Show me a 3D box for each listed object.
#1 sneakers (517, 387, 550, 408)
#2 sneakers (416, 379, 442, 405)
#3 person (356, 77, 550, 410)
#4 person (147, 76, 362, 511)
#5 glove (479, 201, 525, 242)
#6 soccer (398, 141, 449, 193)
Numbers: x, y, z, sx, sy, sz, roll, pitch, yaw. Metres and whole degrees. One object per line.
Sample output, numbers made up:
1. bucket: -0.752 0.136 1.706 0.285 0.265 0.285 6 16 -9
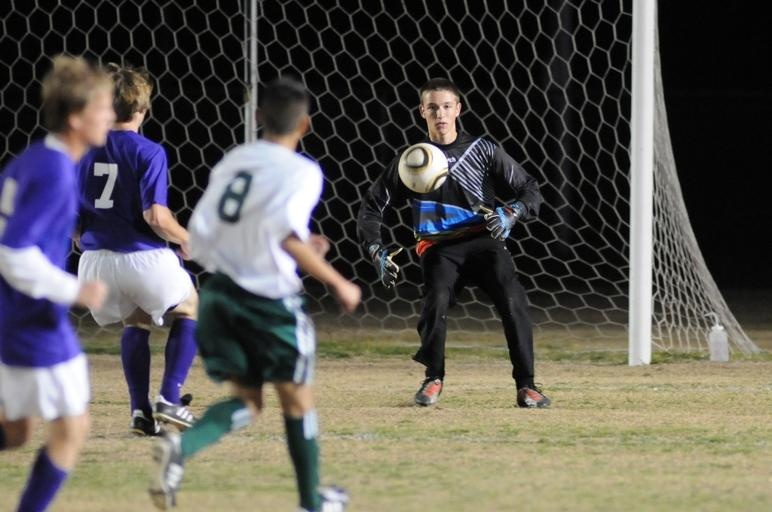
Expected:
1. sneakers: 1.005 0.975 6.737 0.239 0.149 0.111 -2 2 1
2. sneakers: 0.301 0.944 6.802 0.144 0.168 0.258 3 1 21
3. person: 0.624 -0.098 6.798 0.927 2.122 0.405 2 1 0
4. person: -0.678 0.210 5.205 1.036 1.988 0.381 2 1 -4
5. glove: 0.765 -0.249 6.683 0.267 0.261 0.099 45 -27 -27
6. soccer: 0.245 -0.630 6.854 0.354 0.346 0.372 16 -41 8
